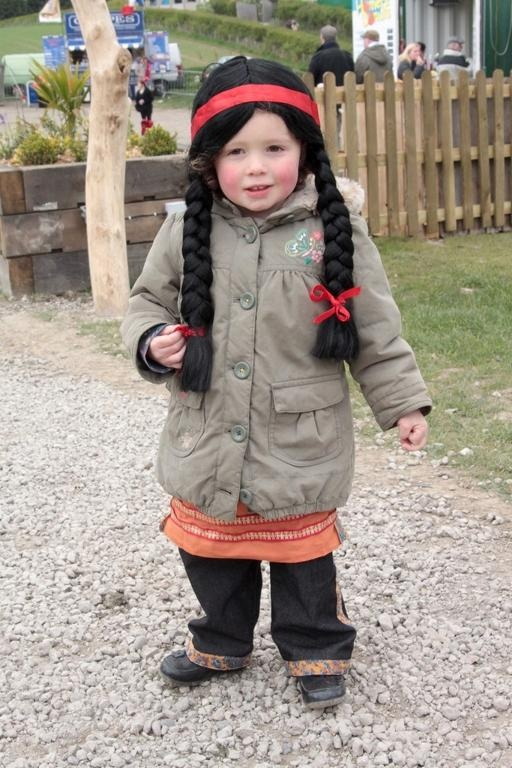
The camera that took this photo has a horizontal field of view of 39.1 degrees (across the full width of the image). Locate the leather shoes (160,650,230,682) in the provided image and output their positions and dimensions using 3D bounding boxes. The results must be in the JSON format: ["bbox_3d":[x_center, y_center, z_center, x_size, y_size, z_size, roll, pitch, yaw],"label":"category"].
[{"bbox_3d":[-0.150,0.716,1.826,0.144,0.058,0.064,1,15,22],"label":"leather shoes"}]

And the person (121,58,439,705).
[{"bbox_3d":[0.039,0.023,1.667,0.677,1.499,0.420,-4,12,-3],"label":"person"}]
